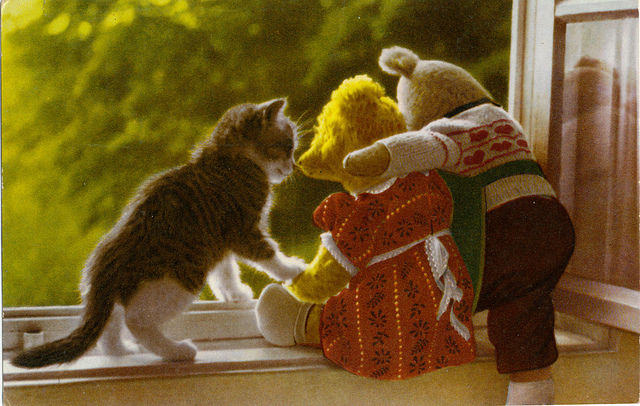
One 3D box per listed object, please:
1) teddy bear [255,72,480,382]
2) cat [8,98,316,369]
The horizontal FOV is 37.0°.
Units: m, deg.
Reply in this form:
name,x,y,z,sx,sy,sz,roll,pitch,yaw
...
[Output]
name,x,y,z,sx,sy,sz,roll,pitch,yaw
teddy bear,0.148,0.038,2.749,0.627,0.798,0.599,-6,7,-30
cat,-0.436,0.110,2.640,0.280,0.666,1.031,16,33,39
